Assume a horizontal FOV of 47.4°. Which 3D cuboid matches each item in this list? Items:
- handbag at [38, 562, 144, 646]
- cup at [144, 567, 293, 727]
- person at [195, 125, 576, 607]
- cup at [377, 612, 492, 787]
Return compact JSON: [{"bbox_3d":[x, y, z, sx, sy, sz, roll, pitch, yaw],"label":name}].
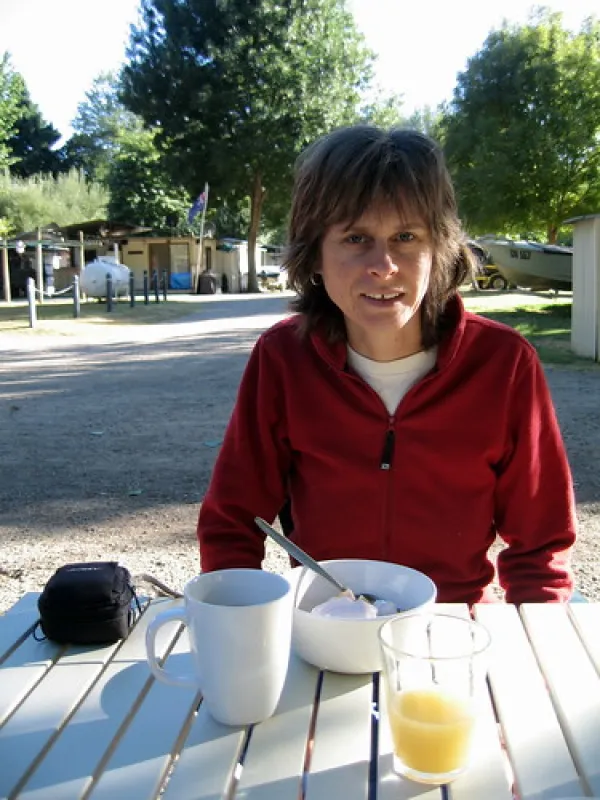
[{"bbox_3d":[-0.389,0.352,1.241,0.183,0.097,0.209,-1,9,-2],"label":"handbag"},{"bbox_3d":[-0.117,0.342,0.917,0.188,0.166,0.116,1,3,-14],"label":"cup"},{"bbox_3d":[0.188,-0.073,1.626,0.843,1.114,0.569,-2,11,2],"label":"person"},{"bbox_3d":[0.161,0.355,0.842,0.136,0.160,0.153,4,13,29],"label":"cup"}]
